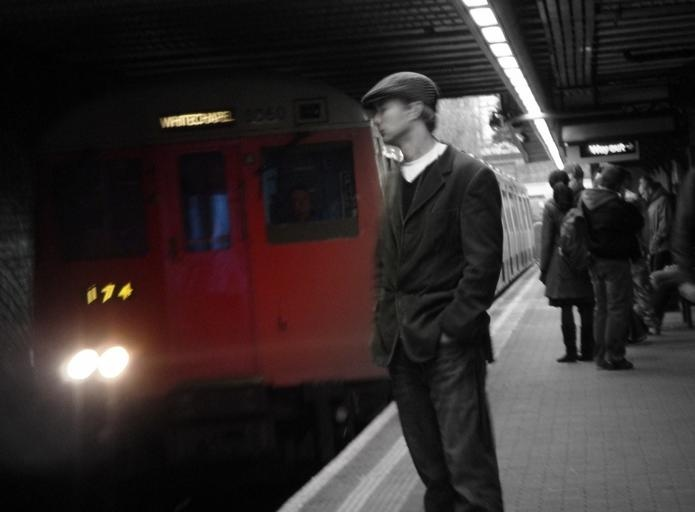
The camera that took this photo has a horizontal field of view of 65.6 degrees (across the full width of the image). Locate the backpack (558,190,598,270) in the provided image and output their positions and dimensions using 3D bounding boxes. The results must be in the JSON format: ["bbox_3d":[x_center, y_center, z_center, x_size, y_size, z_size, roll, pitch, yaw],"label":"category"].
[{"bbox_3d":[2.939,-0.318,6.869,0.439,0.913,0.646,-7,25,6],"label":"backpack"}]

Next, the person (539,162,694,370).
[{"bbox_3d":[3.185,0.129,6.728,0.912,2.511,0.552,-7,0,42],"label":"person"}]
